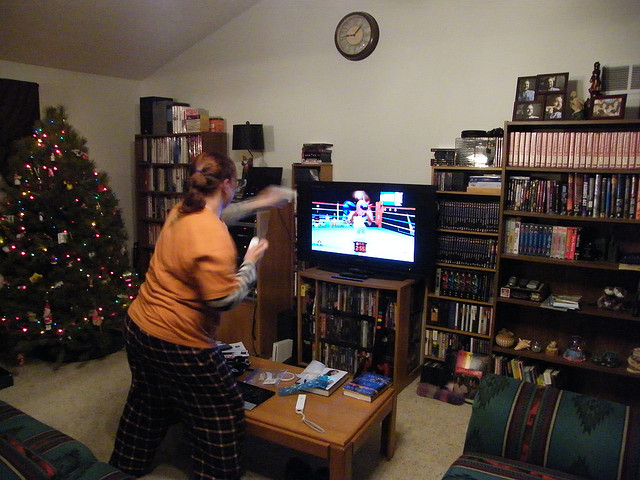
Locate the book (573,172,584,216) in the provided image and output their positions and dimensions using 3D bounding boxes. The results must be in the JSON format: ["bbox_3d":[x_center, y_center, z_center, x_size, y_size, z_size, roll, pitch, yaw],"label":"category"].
[{"bbox_3d":[1.883,-0.332,3.485,0.066,0.298,0.064,4,9,27],"label":"book"}]

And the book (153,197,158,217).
[{"bbox_3d":[-1.960,-0.389,5.690,0.037,0.161,0.160,7,-24,-38],"label":"book"}]

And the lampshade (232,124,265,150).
[{"bbox_3d":[-0.711,-1.016,4.806,0.258,0.253,0.264,-1,5,-12],"label":"lampshade"}]

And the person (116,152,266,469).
[{"bbox_3d":[-0.765,0.467,2.637,0.821,1.847,0.389,4,9,28],"label":"person"}]

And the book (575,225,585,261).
[{"bbox_3d":[1.900,0.018,3.506,0.040,0.170,0.166,4,1,23],"label":"book"}]

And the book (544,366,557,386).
[{"bbox_3d":[1.750,1.025,3.653,0.032,0.125,0.126,6,10,42],"label":"book"}]

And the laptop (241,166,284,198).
[{"bbox_3d":[-0.553,-0.547,4.634,0.395,0.289,0.267,1,3,11],"label":"laptop"}]

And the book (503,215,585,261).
[{"bbox_3d":[1.654,0.013,3.707,0.353,0.242,0.192,6,-8,12],"label":"book"}]

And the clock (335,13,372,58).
[{"bbox_3d":[0.315,-1.868,4.413,0.363,0.371,0.032,5,9,31],"label":"clock"}]

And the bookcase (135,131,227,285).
[{"bbox_3d":[-1.073,-0.357,3.657,0.833,1.703,0.325,5,7,31],"label":"bookcase"}]

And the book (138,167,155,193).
[{"bbox_3d":[-2.052,-0.719,5.686,0.103,0.275,0.285,-3,6,-37],"label":"book"}]

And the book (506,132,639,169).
[{"bbox_3d":[1.820,-0.645,3.462,0.842,0.256,0.043,3,8,23],"label":"book"}]

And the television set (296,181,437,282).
[{"bbox_3d":[0.361,-0.092,4.199,1.302,0.838,0.179,5,8,29],"label":"television set"}]

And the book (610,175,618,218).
[{"bbox_3d":[2.078,-0.308,3.378,0.042,0.290,0.050,-7,11,-43],"label":"book"}]
